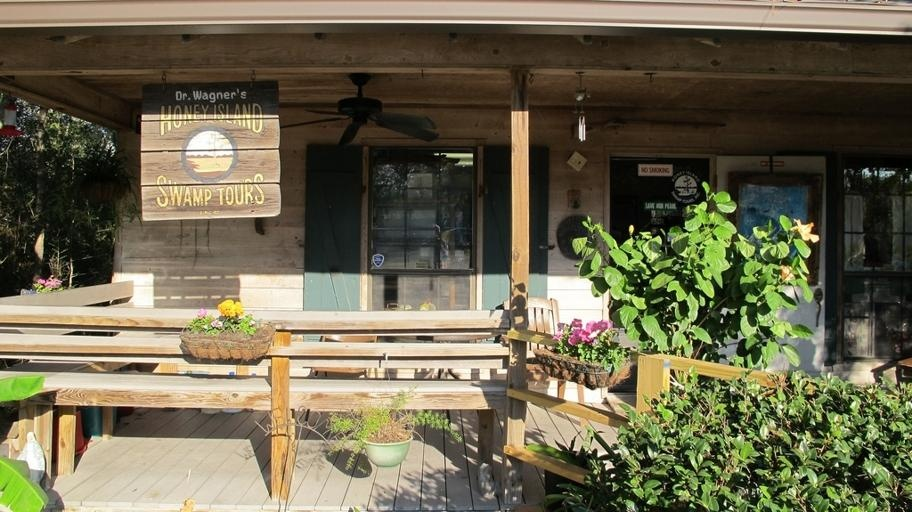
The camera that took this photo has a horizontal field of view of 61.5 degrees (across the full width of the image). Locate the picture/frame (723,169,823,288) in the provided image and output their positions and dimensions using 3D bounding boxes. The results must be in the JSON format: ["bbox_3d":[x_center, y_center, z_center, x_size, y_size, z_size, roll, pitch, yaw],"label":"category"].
[{"bbox_3d":[3.840,-0.643,9.277,1.147,0.755,0.136,1,-1,-3],"label":"picture/frame"}]

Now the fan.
[{"bbox_3d":[-1.061,-1.701,8.332,1.774,0.468,1.601,3,11,8],"label":"fan"}]

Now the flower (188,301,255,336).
[{"bbox_3d":[-2.174,0.557,7.233,0.657,0.260,0.486,1,16,-33],"label":"flower"}]

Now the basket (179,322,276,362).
[{"bbox_3d":[-2.147,0.801,7.194,0.836,0.320,0.192,1,-1,-3],"label":"basket"}]

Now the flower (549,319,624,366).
[{"bbox_3d":[1.212,0.763,6.711,0.439,0.431,0.498,2,0,-24],"label":"flower"}]

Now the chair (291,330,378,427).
[{"bbox_3d":[-1.225,1.026,8.685,0.749,0.695,0.825,-4,-10,14],"label":"chair"}]
